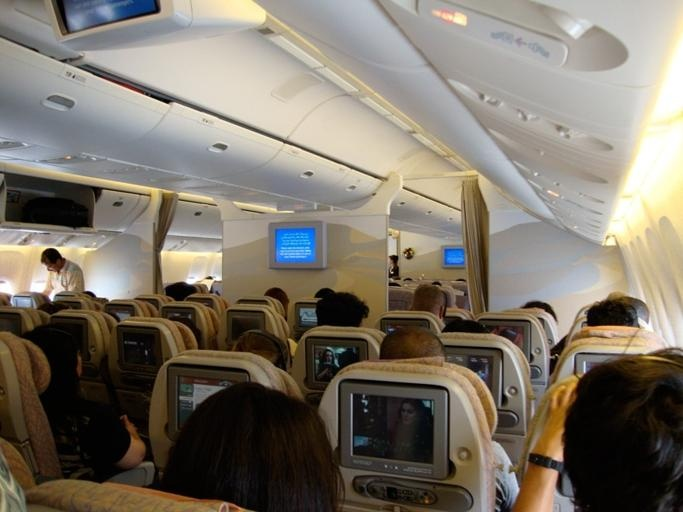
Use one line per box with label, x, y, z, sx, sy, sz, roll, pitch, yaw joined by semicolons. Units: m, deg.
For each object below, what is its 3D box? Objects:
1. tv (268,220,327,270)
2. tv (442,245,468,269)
tv;-0.846;-0.216;9.393;1.106;0.837;0.358;0;1;19
tv;4.524;0.032;18.580;1.051;0.828;0.528;2;4;28
